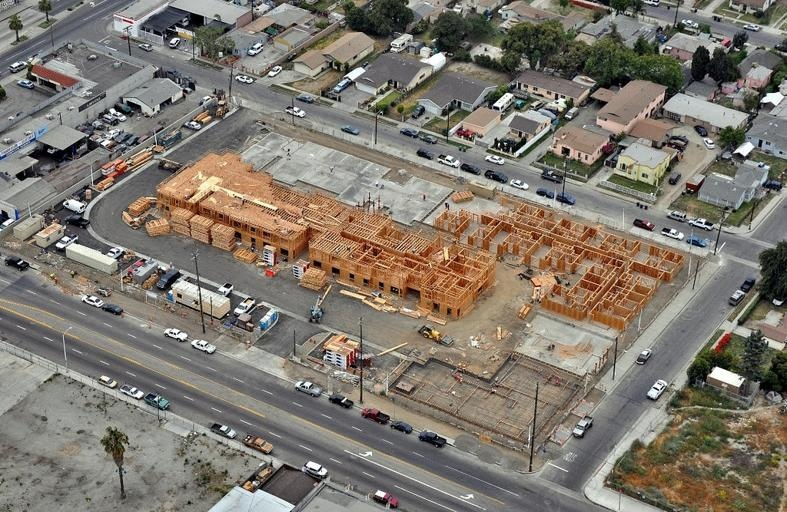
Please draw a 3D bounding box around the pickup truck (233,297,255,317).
[{"bbox_3d":[-30.838,10.882,238.150,2.351,1.722,4.944,29,53,19],"label":"pickup truck"}]

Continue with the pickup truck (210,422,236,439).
[{"bbox_3d":[-32.132,33.040,216.030,4.974,1.650,2.255,21,52,16],"label":"pickup truck"}]

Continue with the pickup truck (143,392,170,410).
[{"bbox_3d":[-45.577,27.930,220.013,4.649,1.820,2.512,25,53,12],"label":"pickup truck"}]

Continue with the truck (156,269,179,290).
[{"bbox_3d":[-48.046,5.220,242.970,2.787,2.497,4.857,31,51,14],"label":"truck"}]

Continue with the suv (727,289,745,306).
[{"bbox_3d":[72.884,8.524,241.550,2.081,1.966,4.068,28,66,32],"label":"suv"}]

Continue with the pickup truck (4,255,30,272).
[{"bbox_3d":[-80.893,1.612,245.549,5.123,2.020,2.462,20,45,13],"label":"pickup truck"}]

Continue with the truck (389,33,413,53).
[{"bbox_3d":[2.521,-57.239,308.375,3.872,3.636,6.678,38,73,23],"label":"truck"}]

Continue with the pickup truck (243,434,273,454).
[{"bbox_3d":[-25.229,35.094,214.115,5.538,1.947,2.645,25,53,16],"label":"pickup truck"}]

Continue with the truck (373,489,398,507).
[{"bbox_3d":[-1.210,44.247,206.786,4.290,1.789,2.249,19,59,13],"label":"truck"}]

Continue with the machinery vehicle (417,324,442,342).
[{"bbox_3d":[7.774,15.919,234.626,4.616,2.240,2.530,29,57,18],"label":"machinery vehicle"}]

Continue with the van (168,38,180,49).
[{"bbox_3d":[-58.248,-57.365,304.826,1.763,1.681,3.497,17,63,3],"label":"van"}]

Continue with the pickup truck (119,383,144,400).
[{"bbox_3d":[-50.589,26.215,221.485,4.021,1.288,2.474,23,48,15],"label":"pickup truck"}]

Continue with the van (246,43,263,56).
[{"bbox_3d":[-36.657,-55.155,304.158,2.316,2.290,4.523,32,55,23],"label":"van"}]

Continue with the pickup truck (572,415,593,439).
[{"bbox_3d":[36.427,32.943,218.422,2.301,1.787,5.111,28,57,30],"label":"pickup truck"}]
